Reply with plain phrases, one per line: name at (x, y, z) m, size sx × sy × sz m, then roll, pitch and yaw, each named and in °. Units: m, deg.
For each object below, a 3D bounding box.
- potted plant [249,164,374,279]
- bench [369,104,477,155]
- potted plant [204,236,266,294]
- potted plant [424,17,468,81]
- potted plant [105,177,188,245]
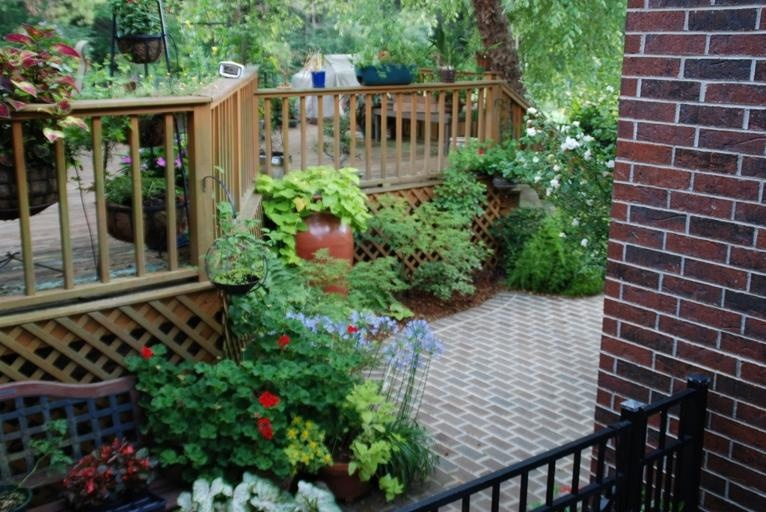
potted plant at (-0.720, -0.441, 6.660) m, size 1.202 × 0.844 × 1.276 m, roll 2°, pitch -10°, yaw -5°
bench at (0.528, -2.505, 10.981) m, size 1.795 × 0.777 × 4.288 m, roll 1°, pitch 16°, yaw -5°
potted plant at (-1.001, 0.039, 4.106) m, size 0.409 × 0.390 × 0.408 m, roll 0°, pitch 6°, yaw 4°
potted plant at (1.108, -3.329, 9.354) m, size 0.546 × 0.767 × 0.485 m, roll -13°, pitch 23°, yaw -23°
potted plant at (-2.030, -0.351, 4.931) m, size 0.610 × 0.613 × 0.575 m, roll -6°, pitch 18°, yaw -25°
